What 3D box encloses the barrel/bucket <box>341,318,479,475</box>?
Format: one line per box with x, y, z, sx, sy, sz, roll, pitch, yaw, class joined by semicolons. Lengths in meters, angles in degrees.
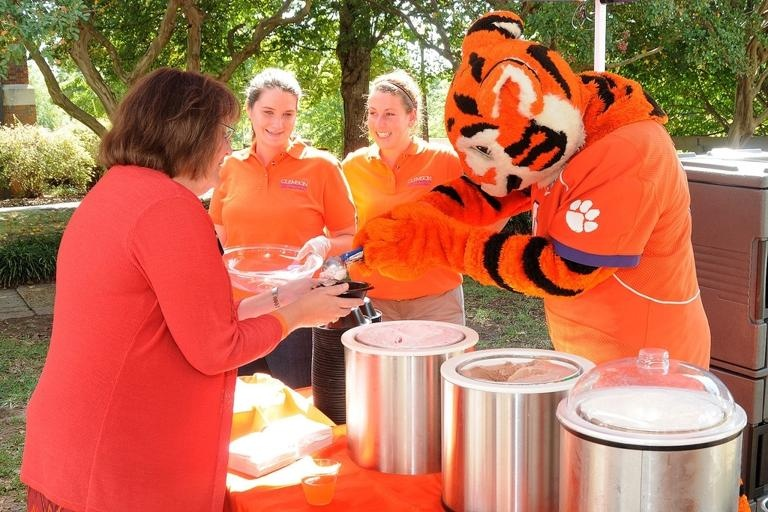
0.082;0.535;2.382;0.545;0.430;0.521;0;6;0;barrel/bucket

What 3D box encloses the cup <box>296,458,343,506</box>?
-0.230;0.780;2.053;0.142;0.104;0.144;1;-8;0;cup

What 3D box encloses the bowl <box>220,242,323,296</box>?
-0.591;0.062;3.090;0.384;0.116;0.356;3;18;-1;bowl

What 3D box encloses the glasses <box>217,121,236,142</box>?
-0.547;-0.434;2.066;0.014;0.043;0.045;22;6;20;glasses
